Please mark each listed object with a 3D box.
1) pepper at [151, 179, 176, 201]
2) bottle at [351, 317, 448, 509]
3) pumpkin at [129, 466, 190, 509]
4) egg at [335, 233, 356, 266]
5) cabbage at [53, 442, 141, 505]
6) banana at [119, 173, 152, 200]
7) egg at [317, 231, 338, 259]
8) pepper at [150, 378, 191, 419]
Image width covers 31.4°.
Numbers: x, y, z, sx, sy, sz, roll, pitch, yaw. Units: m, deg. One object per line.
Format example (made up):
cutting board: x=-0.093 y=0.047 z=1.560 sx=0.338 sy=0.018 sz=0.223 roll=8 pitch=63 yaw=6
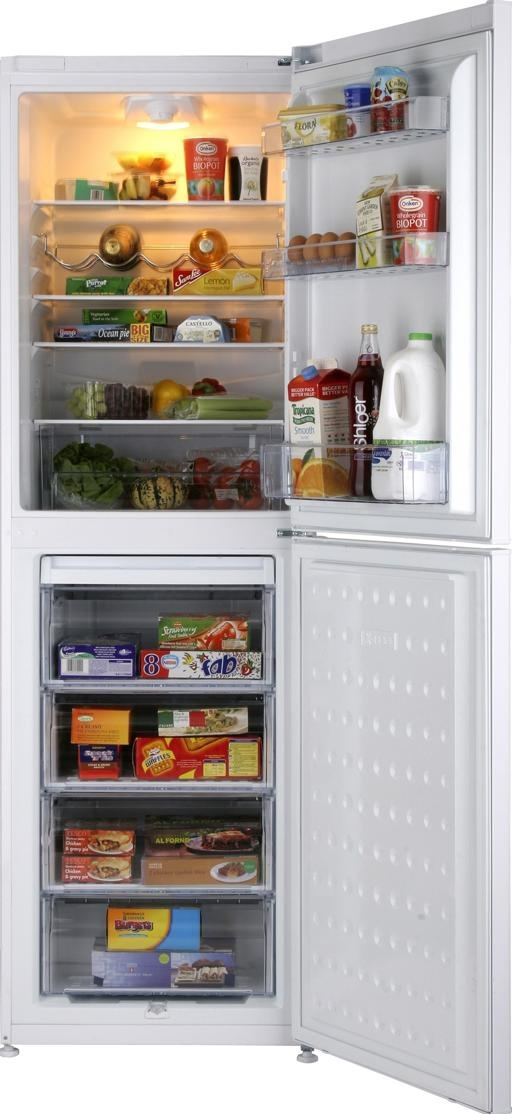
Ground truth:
pepper: x=-0.210 y=-0.821 z=2.032 sx=0.046 sy=0.054 sz=0.059 roll=1 pitch=-3 yaw=-10
bottle: x=0.247 y=-0.213 z=1.501 sx=0.093 sy=0.376 sz=0.107 roll=1 pitch=4 yaw=19
pumpkin: x=-0.225 y=-0.140 z=2.028 sx=0.084 sy=0.105 sz=0.093 roll=-1 pitch=1 yaw=25
egg: x=0.156 y=-0.543 z=1.601 sx=0.036 sy=0.069 sz=0.092 roll=-3 pitch=3 yaw=7
cabbage: x=-0.360 y=-0.173 z=2.018 sx=0.129 sy=0.172 sz=0.149 roll=0 pitch=0 yaw=18
banana: x=-0.267 y=-0.813 z=2.009 sx=0.049 sy=0.062 sz=0.056 roll=9 pitch=20 yaw=18
egg: x=0.125 y=-0.548 z=1.623 sx=0.036 sy=0.059 sz=0.042 roll=0 pitch=2 yaw=-7
pepper: x=-0.199 y=-0.351 z=2.111 sx=0.070 sy=0.100 sz=0.084 roll=10 pitch=-25 yaw=-14
